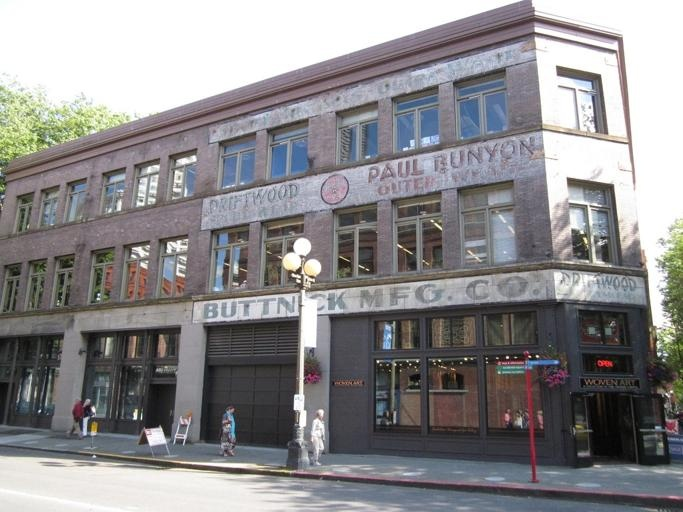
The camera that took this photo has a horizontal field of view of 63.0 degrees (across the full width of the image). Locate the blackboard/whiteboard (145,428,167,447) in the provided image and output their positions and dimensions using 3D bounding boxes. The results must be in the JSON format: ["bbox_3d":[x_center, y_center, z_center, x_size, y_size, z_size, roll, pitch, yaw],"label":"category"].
[{"bbox_3d":[-6.999,6.787,20.917,0.739,0.579,0.624,5,-19,-21],"label":"blackboard/whiteboard"}]

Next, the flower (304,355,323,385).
[{"bbox_3d":[-1.137,4.705,22.838,1.181,1.071,1.096,-1,-1,-10],"label":"flower"}]
